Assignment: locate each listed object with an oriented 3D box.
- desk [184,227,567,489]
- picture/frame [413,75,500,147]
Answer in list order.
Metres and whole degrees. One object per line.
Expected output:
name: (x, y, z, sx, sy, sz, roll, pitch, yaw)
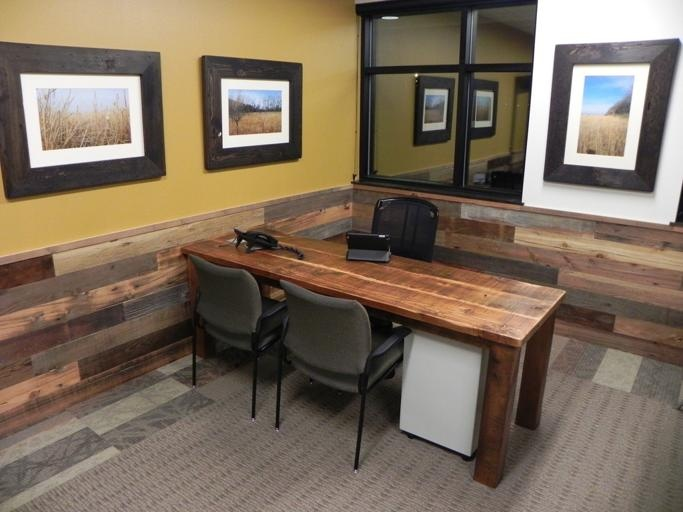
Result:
desk: (0.429, 0.459, 3.309, 1.907, 0.692, 0.641, 21, 19, 41)
picture/frame: (1.100, -1.377, 4.486, 0.741, 0.507, 0.054, 8, 15, 32)
